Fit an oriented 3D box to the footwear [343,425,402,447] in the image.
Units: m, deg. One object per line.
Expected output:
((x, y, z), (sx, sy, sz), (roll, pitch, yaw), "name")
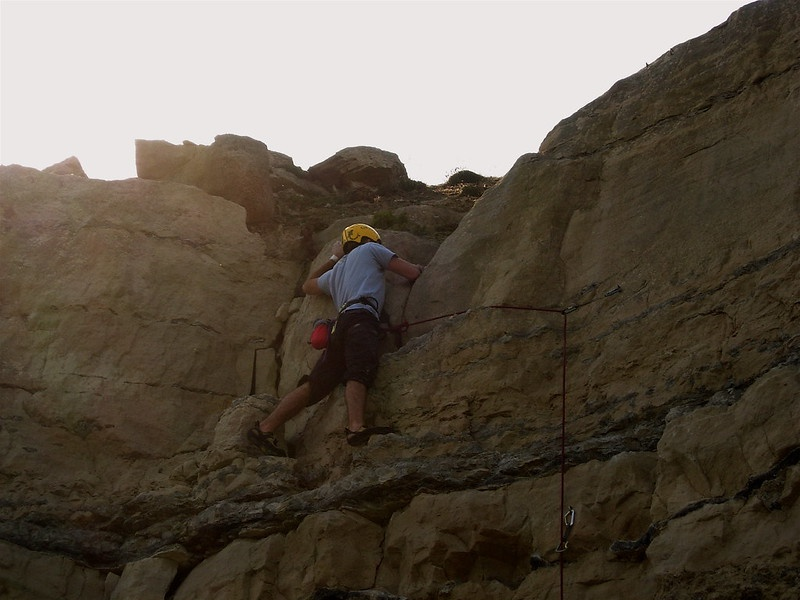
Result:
((-0.267, 1.399, 14.701), (0.588, 0.235, 0.209), (-15, -69, 4), "footwear")

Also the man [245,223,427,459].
((-0.659, 0.429, 15.938), (1.793, 3.046, 0.985), (-11, -38, 15), "man")

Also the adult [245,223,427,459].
((-0.672, 0.399, 15.930), (1.868, 3.078, 0.969), (-10, -37, 14), "adult")

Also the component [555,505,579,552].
((1.606, 2.179, 13.324), (0.197, 0.424, 0.091), (-8, -36, 19), "component")

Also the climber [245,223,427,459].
((-0.647, 0.374, 15.932), (1.851, 3.023, 0.914), (-8, -37, 12), "climber")

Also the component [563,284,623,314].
((2.063, -0.005, 14.619), (0.508, 0.084, 0.077), (-28, -87, 24), "component")

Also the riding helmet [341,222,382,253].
((-0.443, -0.725, 16.399), (0.389, 0.330, 0.310), (-12, 6, -16), "riding helmet")
